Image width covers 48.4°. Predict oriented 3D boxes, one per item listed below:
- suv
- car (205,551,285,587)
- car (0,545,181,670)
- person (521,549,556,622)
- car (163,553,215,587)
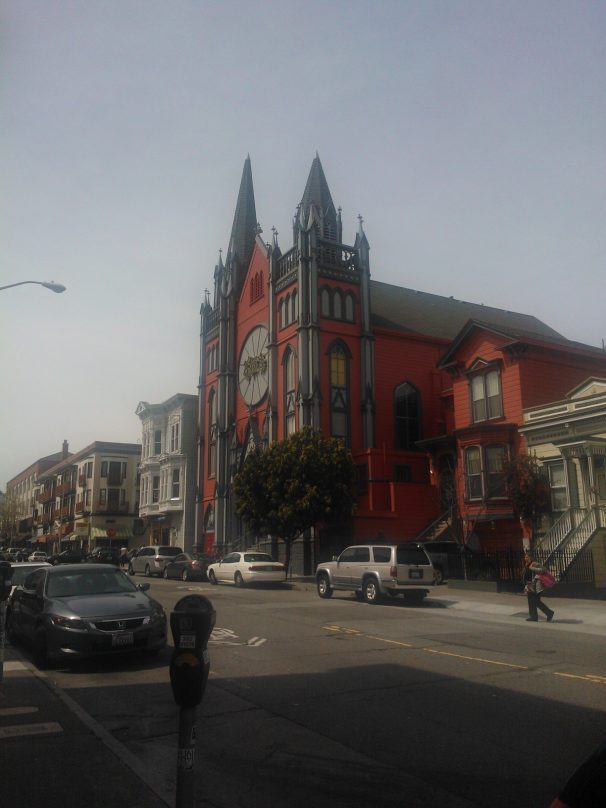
[{"bbox_3d":[2.262,5.133,21.052,1.882,1.573,3.474,8,-10,-29],"label":"suv"},{"bbox_3d":[-2.496,6.945,27.964,1.318,1.391,3.664,5,-12,-39],"label":"car"},{"bbox_3d":[-3.491,3.129,10.288,1.354,1.046,3.048,9,-22,-26],"label":"car"},{"bbox_3d":[5.720,4.568,16.575,0.664,1.604,0.640,-3,2,-1],"label":"person"},{"bbox_3d":[-5.661,8.135,32.839,1.211,0.932,2.637,10,-14,-33],"label":"car"}]
